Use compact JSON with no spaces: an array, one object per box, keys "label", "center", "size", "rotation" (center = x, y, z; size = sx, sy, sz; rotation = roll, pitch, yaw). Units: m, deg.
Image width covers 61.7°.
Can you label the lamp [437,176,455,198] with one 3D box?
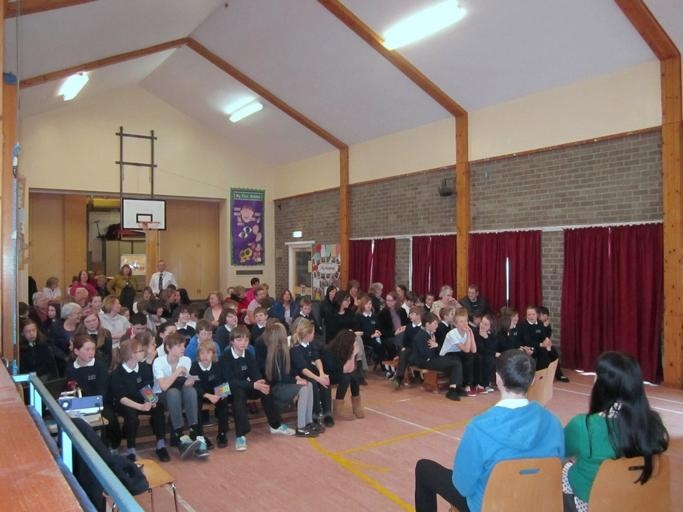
[{"label":"lamp","center":[2.134,-1.415,11.867],"size":[0.260,0.418,0.434],"rotation":[-6,10,-43]}]

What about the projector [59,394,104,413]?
[{"label":"projector","center":[-2.556,1.473,5.641],"size":[0.248,0.114,0.335],"rotation":[-4,-7,40]}]
